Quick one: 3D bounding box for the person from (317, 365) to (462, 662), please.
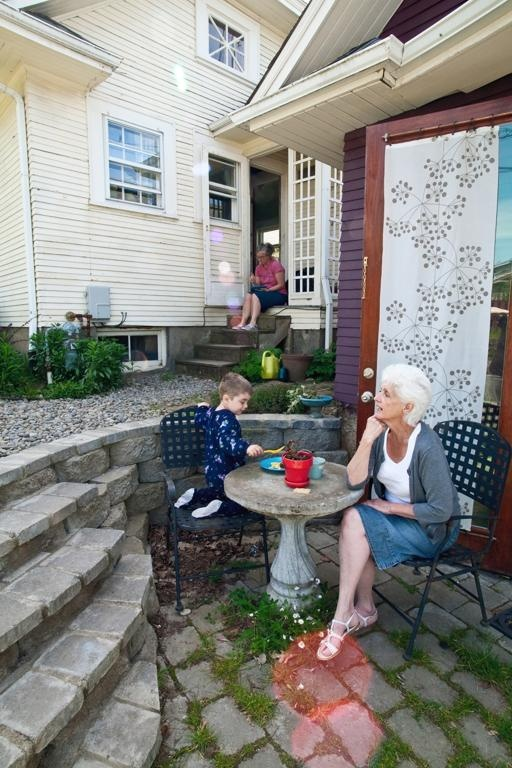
[{"bbox_3d":[0.584,0.556,2.203,0.661,1.284,0.461,0,6,0],"label":"person"}]

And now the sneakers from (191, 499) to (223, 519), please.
[{"bbox_3d":[-0.240,0.670,2.656,0.069,0.081,0.206,8,1,36],"label":"sneakers"}]

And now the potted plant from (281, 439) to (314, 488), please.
[{"bbox_3d":[0.202,0.381,2.437,0.190,0.231,0.180,-2,3,-38],"label":"potted plant"}]

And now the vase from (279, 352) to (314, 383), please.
[{"bbox_3d":[0.497,-0.192,5.645,0.318,0.290,0.322,1,3,0],"label":"vase"}]

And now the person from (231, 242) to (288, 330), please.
[{"bbox_3d":[0.091,-1.414,7.095,0.579,1.299,0.903,4,7,34],"label":"person"}]

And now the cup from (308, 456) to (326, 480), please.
[{"bbox_3d":[0.320,0.417,2.525,0.100,0.083,0.084,3,1,15],"label":"cup"}]

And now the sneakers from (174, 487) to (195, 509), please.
[{"bbox_3d":[-0.401,0.630,2.812,0.053,0.130,0.067,35,-5,-11],"label":"sneakers"}]

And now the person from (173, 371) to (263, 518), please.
[{"bbox_3d":[-0.232,0.389,3.050,0.410,0.816,0.661,-10,26,-33],"label":"person"}]

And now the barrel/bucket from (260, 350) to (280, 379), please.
[{"bbox_3d":[0.171,-0.216,5.779,0.267,0.403,0.205,4,20,24],"label":"barrel/bucket"}]

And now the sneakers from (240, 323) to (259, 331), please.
[{"bbox_3d":[-0.081,-0.771,6.809,0.224,0.092,0.096,2,0,-26],"label":"sneakers"}]

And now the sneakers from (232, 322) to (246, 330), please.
[{"bbox_3d":[-0.245,-0.808,6.970,0.207,0.091,0.091,3,0,25],"label":"sneakers"}]
